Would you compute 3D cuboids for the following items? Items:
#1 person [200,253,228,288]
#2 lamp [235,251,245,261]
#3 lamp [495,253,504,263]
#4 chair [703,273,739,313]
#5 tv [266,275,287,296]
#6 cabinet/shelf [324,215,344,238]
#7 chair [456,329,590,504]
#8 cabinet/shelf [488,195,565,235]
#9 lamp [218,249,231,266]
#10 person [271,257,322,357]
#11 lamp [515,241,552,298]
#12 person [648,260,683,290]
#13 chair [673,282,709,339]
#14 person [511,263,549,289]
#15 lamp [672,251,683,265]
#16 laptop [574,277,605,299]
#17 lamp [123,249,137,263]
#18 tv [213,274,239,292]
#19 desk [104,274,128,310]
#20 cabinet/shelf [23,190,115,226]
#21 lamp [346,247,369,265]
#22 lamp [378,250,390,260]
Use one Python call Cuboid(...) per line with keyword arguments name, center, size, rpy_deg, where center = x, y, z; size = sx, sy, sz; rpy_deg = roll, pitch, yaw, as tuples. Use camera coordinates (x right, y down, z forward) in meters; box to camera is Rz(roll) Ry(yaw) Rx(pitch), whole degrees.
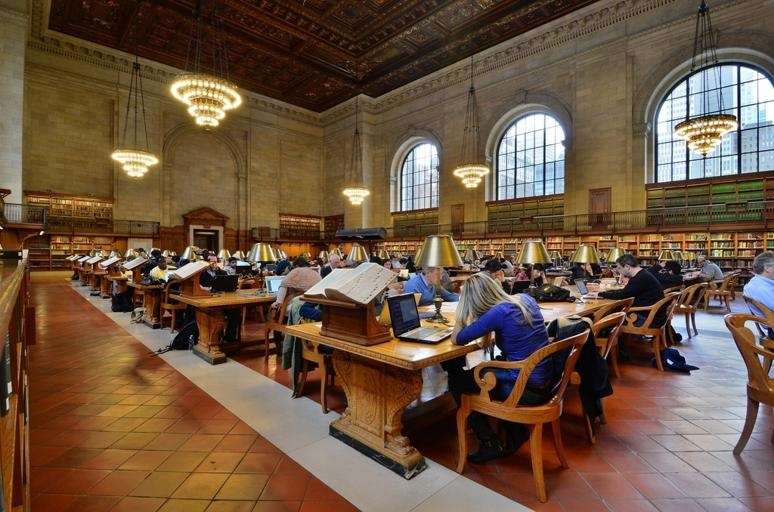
Cuboid(name="person", center=(-3.637, 0.347, 10.709), size=(0.790, 0.681, 0.413), rpy_deg=(-5, 6, -3))
Cuboid(name="lamp", center=(-4.798, 0.025, 16.376), size=(0.351, 0.325, 0.345), rpy_deg=(-5, 5, -26))
Cuboid(name="lamp", center=(3.343, 0.084, 14.866), size=(0.274, 0.299, 0.288), rpy_deg=(4, 8, 42))
Cuboid(name="chair", center=(8.344, 0.919, 12.617), size=(0.729, 0.901, 0.755), rpy_deg=(-3, -2, 19))
Cuboid(name="tv", center=(-2.110, 0.549, 9.537), size=(0.439, 0.320, 0.363), rpy_deg=(1, -1, -14))
Cuboid(name="cabinet/shelf", center=(-2.671, -1.438, 25.852), size=(0.394, 1.112, 1.202), rpy_deg=(3, -6, -39))
Cuboid(name="chair", center=(2.004, 2.207, 7.604), size=(1.715, 2.148, 1.677), rpy_deg=(2, 2, 15))
Cuboid(name="cabinet/shelf", center=(5.365, -1.351, 20.028), size=(3.629, 1.843, 0.487), rpy_deg=(-11, 27, -23))
Cuboid(name="lamp", center=(-4.634, 0.083, 14.304), size=(0.471, 0.473, 0.465), rpy_deg=(-4, 11, -21))
Cuboid(name="person", center=(-1.638, 0.911, 9.065), size=(0.752, 1.672, 0.649), rpy_deg=(13, -13, -31))
Cuboid(name="lamp", center=(2.645, 0.235, 9.041), size=(0.594, 0.965, 0.601), rpy_deg=(-6, 5, -37))
Cuboid(name="person", center=(5.769, 0.425, 10.375), size=(0.871, 0.294, 0.303), rpy_deg=(-1, 21, -16))
Cuboid(name="chair", center=(6.233, 1.143, 10.607), size=(0.855, 1.117, 0.824), rpy_deg=(2, -8, 9))
Cuboid(name="person", center=(2.964, 0.440, 10.380), size=(0.454, 0.877, 0.446), rpy_deg=(3, -4, -27))
Cuboid(name="lamp", center=(8.261, 0.099, 14.269), size=(0.269, 0.376, 0.384), rpy_deg=(1, 2, -19))
Cuboid(name="laptop", center=(3.868, 0.673, 9.751), size=(0.563, 0.344, 0.475), rpy_deg=(1, 1, -29))
Cuboid(name="lamp", center=(-7.811, 0.033, 15.267), size=(0.495, 0.513, 0.496), rpy_deg=(-1, 2, -25))
Cuboid(name="tv", center=(-3.052, 0.556, 9.501), size=(0.411, 0.301, 0.283), rpy_deg=(0, 11, -35))
Cuboid(name="desk", center=(-6.794, 0.944, 12.598), size=(0.616, 1.011, 1.165), rpy_deg=(3, -1, -34))
Cuboid(name="cabinet/shelf", center=(-12.294, -1.837, 19.621), size=(2.769, 1.224, 0.388), rpy_deg=(-1, 2, -26))
Cuboid(name="lamp", center=(-0.657, 0.033, 11.333), size=(0.512, 0.478, 0.511), rpy_deg=(-3, 7, -9))
Cuboid(name="lamp", center=(-0.089, 0.001, 13.099), size=(0.273, 0.283, 0.279), rpy_deg=(0, 1, 34))
